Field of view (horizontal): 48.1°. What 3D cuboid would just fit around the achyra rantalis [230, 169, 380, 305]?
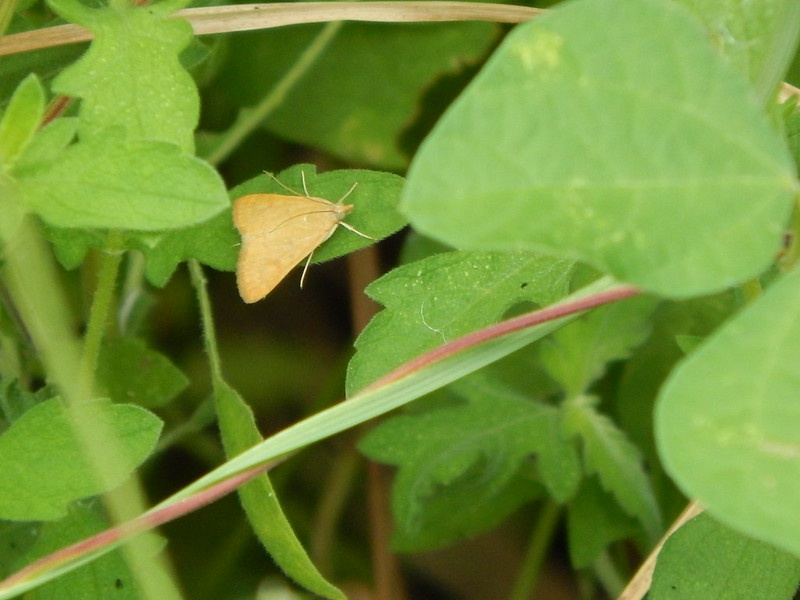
[{"bbox_3d":[-0.148,-0.107,1.215,0.193,0.139,0.110,-24,68,-8],"label":"achyra rantalis"}]
